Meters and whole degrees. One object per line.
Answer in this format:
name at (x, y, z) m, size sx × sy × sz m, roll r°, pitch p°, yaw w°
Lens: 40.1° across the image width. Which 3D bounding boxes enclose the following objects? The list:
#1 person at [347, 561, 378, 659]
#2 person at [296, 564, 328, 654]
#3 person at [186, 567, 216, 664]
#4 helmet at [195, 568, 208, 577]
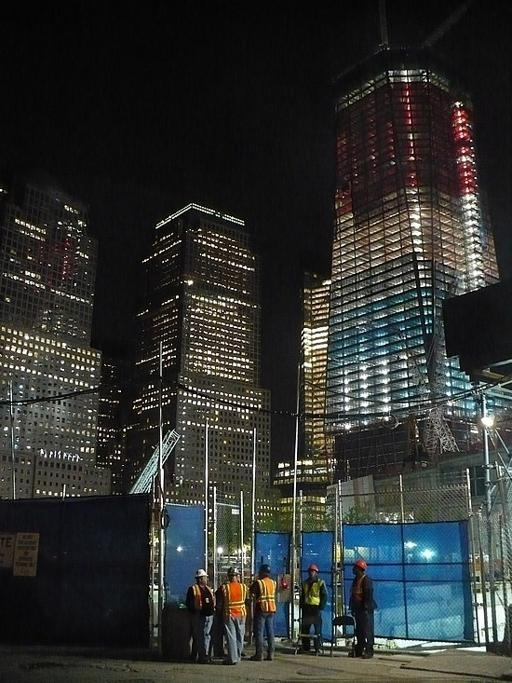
person at (2.149, 5.293, 13.995) m, size 0.495 × 1.834 × 0.681 m, roll -3°, pitch -15°, yaw 8°
person at (1.222, 5.695, 15.036) m, size 0.543 × 1.752 × 1.911 m, roll -2°, pitch -17°, yaw 3°
person at (-1.090, 5.283, 13.629) m, size 0.549 × 1.683 × 0.844 m, roll 1°, pitch -16°, yaw -6°
helmet at (-1.046, 4.474, 13.639) m, size 0.190 × 0.168 × 0.269 m, roll -4°, pitch -7°, yaw 20°
